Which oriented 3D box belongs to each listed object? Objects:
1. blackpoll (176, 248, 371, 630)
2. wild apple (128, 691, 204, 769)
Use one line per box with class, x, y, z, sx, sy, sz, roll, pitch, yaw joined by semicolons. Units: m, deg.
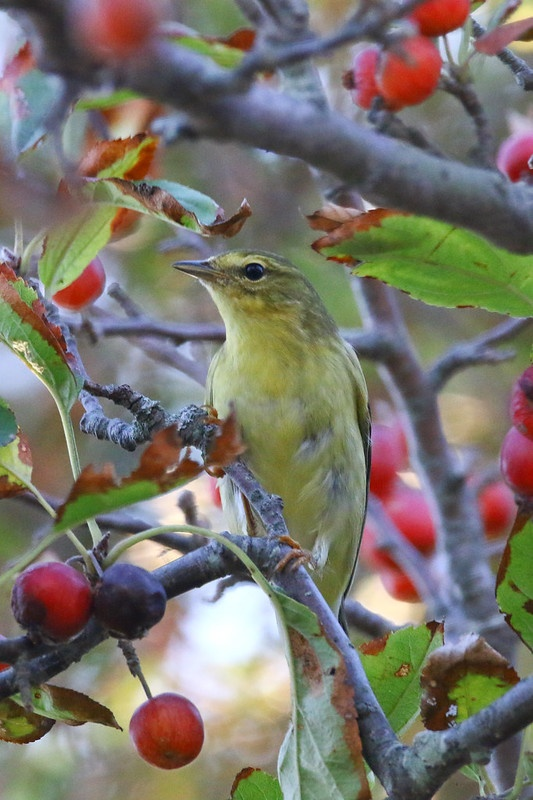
blackpoll;0.213;0.119;3.783;0.779;1.440;0.900;-4;9;-4
wild apple;-0.209;0.722;2.032;0.140;0.125;0.131;6;46;-4
